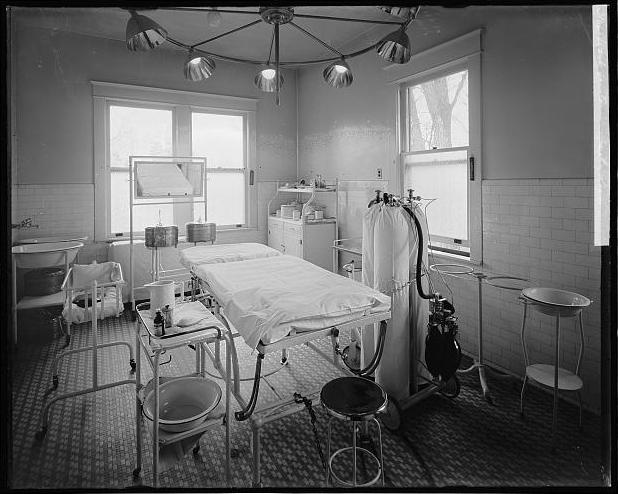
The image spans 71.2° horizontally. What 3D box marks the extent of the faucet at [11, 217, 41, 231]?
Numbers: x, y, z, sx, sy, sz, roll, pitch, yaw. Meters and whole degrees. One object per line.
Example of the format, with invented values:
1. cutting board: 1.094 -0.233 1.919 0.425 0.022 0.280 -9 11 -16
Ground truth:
1. faucet: -1.211 -0.091 1.855 0.117 0.060 0.036 0 5 -17

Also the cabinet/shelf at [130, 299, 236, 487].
1. cabinet/shelf: -0.610 0.691 2.121 0.334 0.706 0.516 5 3 -30

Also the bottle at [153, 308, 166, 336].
1. bottle: -0.664 0.333 1.911 0.049 0.109 0.087 -6 11 -20

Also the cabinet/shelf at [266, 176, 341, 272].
1. cabinet/shelf: -0.073 -0.099 2.853 0.225 0.670 0.423 0 7 -39

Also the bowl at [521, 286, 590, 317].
1. bowl: 1.122 0.248 1.973 0.150 0.065 0.160 1 6 0

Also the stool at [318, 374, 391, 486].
1. stool: 0.209 0.829 2.002 0.283 0.472 0.421 -1 11 7

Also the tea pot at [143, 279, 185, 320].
1. tea pot: -0.695 0.242 2.066 0.169 0.181 0.113 2 -3 -34

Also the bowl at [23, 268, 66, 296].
1. bowl: -1.169 0.158 1.892 0.111 0.090 0.119 0 1 0

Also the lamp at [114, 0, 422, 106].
1. lamp: -0.141 -0.953 2.189 1.383 0.418 0.468 -4 11 -4

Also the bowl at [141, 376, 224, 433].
1. bowl: -0.603 0.756 2.027 0.341 0.118 0.341 1 17 0
